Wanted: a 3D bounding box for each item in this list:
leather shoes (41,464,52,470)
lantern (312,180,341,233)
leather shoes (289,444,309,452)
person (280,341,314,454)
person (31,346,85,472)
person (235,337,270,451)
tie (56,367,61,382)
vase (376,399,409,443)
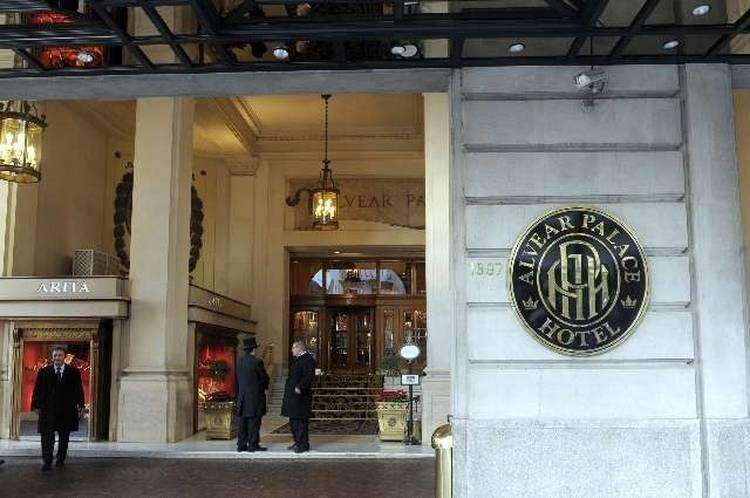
[{"bbox_3d":[-5.090,3.365,16.766,0.140,0.104,0.137,7,-15,-24],"label":"leather shoes"},{"bbox_3d":[-1.081,-0.940,23.574,0.538,0.940,0.560,2,-14,-5],"label":"lantern"},{"bbox_3d":[-1.316,3.345,18.253,0.145,0.154,0.380,3,-1,-40],"label":"leather shoes"},{"bbox_3d":[-1.295,2.476,18.269,0.514,1.852,0.380,5,-15,-17],"label":"person"},{"bbox_3d":[-5.137,2.545,17.369,0.711,1.972,0.761,-6,-16,26],"label":"person"},{"bbox_3d":[-2.119,2.482,18.568,0.551,1.950,0.674,2,-14,-6],"label":"person"},{"bbox_3d":[-5.068,2.000,17.360,0.093,0.145,0.036,2,-19,-29],"label":"tie"},{"bbox_3d":[0.311,3.147,19.587,0.612,0.625,0.546,0,-11,-3],"label":"vase"}]
